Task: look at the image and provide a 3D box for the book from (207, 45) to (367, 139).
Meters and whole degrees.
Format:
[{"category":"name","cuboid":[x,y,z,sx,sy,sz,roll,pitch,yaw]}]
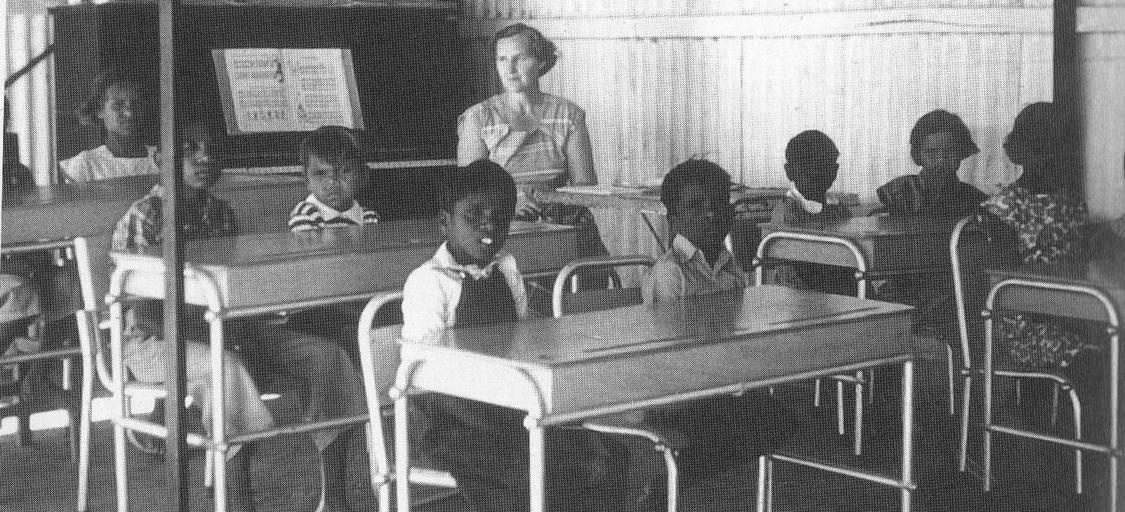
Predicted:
[{"category":"book","cuboid":[-0.837,-0.488,3.473,0.469,0.248,0.102,-3,10,-2]}]
